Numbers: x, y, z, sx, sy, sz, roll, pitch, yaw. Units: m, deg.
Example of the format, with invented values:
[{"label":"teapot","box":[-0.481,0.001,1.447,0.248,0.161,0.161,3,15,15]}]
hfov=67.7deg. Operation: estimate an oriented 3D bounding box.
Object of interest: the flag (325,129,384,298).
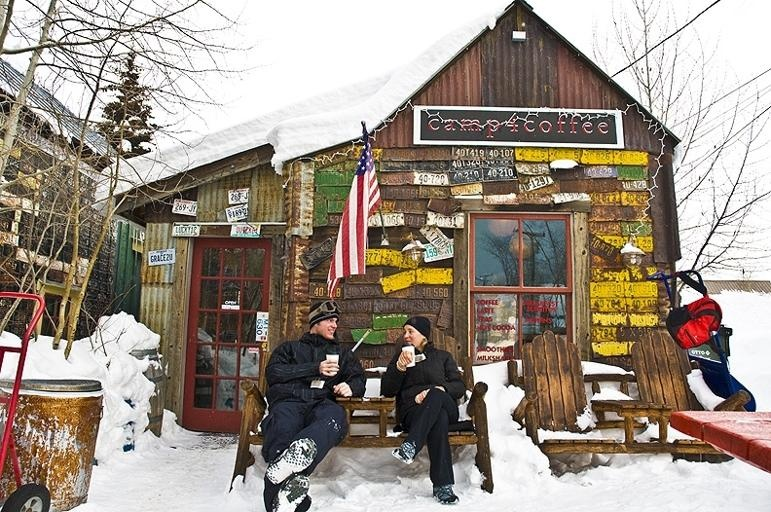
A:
[{"label":"flag","box":[-0.408,-0.688,7.349,0.269,1.972,0.726,8,-14,-44]}]

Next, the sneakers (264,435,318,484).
[{"label":"sneakers","box":[-0.904,1.941,5.566,0.509,0.298,0.217,-37,16,-5]}]

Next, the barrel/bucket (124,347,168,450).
[{"label":"barrel/bucket","box":[-3.231,1.877,7.881,0.257,1.210,0.748,-2,-10,5]}]

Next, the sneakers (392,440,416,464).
[{"label":"sneakers","box":[0.200,1.970,5.813,0.195,0.188,0.162,-6,-11,23]}]

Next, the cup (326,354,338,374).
[{"label":"cup","box":[-0.541,1.147,6.120,0.106,0.199,0.211,-6,-11,26]}]

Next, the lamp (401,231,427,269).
[{"label":"lamp","box":[0.388,-0.087,7.880,0.362,0.535,0.359,3,-11,-11]}]

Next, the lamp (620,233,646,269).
[{"label":"lamp","box":[3.375,-0.075,7.949,0.327,0.382,0.342,1,-4,-23]}]

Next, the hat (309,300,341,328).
[{"label":"hat","box":[-0.702,0.643,6.626,0.340,0.197,0.257,-27,-28,25]}]

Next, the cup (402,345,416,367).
[{"label":"cup","box":[0.265,1.046,6.072,0.178,0.293,0.195,1,-5,0]}]

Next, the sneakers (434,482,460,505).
[{"label":"sneakers","box":[0.614,2.400,5.776,0.118,0.153,0.311,7,-16,-25]}]

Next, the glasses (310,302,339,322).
[{"label":"glasses","box":[-0.723,0.644,6.606,0.284,0.151,0.216,-28,-29,29]}]
